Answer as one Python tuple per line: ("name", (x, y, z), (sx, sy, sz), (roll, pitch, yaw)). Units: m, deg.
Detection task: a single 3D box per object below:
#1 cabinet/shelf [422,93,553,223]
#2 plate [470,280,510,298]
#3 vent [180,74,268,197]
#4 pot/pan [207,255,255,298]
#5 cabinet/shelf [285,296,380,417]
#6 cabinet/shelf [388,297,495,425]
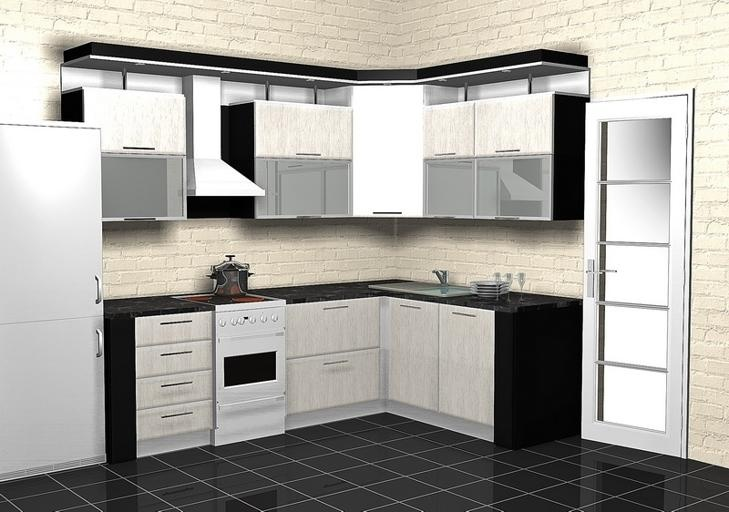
("cabinet/shelf", (1.268, -0.926, 5.787), (0.521, 1.148, 1.560), (-9, 11, -41))
("plate", (1.168, 0.308, 5.445), (0.237, 0.079, 0.218), (-1, 3, -14))
("vent", (-1.393, -1.097, 5.310), (0.720, 1.119, 0.525), (2, 3, 32))
("pot/pan", (-1.284, 0.196, 5.622), (0.309, 0.375, 0.248), (2, 3, 34))
("cabinet/shelf", (-0.080, 1.022, 5.885), (1.135, 0.977, 0.649), (-16, -25, 36))
("cabinet/shelf", (0.747, 0.973, 5.416), (1.328, 0.970, 0.508), (3, 6, 43))
